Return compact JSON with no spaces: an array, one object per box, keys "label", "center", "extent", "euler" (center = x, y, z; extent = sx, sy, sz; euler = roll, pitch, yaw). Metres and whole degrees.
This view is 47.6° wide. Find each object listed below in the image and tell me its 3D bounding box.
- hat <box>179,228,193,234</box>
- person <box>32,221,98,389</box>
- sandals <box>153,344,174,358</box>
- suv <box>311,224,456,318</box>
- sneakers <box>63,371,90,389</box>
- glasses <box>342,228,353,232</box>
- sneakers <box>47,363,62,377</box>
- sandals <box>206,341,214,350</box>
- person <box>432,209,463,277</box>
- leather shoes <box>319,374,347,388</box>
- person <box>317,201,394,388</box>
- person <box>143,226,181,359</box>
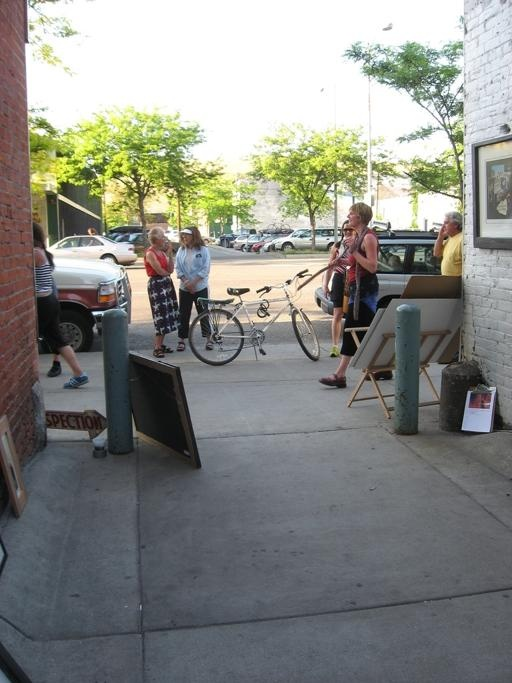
[{"label":"hat","center":[-1.074,-1.693,8.979],"extent":[0.188,0.122,0.230],"euler":[-1,6,-6]},{"label":"person","center":[-2.340,-0.358,6.594],"extent":[0.447,1.874,0.732],"euler":[3,7,28]},{"label":"sandals","center":[-1.458,0.166,9.099],"extent":[0.181,0.135,0.483],"euler":[-1,3,-6]},{"label":"suv","center":[2.208,-1.239,10.344],"extent":[2.203,1.177,1.200],"euler":[-13,13,-5]},{"label":"sneakers","center":[-2.135,0.468,6.893],"extent":[0.365,0.165,0.132],"euler":[-15,6,-7]},{"label":"glasses","center":[1.005,-1.210,6.373],"extent":[0.101,0.068,0.049],"euler":[3,7,32]},{"label":"sneakers","center":[-2.634,0.394,7.627],"extent":[0.097,0.119,0.283],"euler":[2,-9,1]},{"label":"sandals","center":[-0.682,0.065,8.575],"extent":[0.114,0.118,0.324],"euler":[0,4,0]},{"label":"person","center":[2.336,-1.186,7.076],"extent":[0.317,0.776,1.356],"euler":[2,6,17]},{"label":"leather shoes","center":[0.910,0.467,6.823],"extent":[0.342,0.174,0.133],"euler":[6,2,10]},{"label":"person","center":[1.067,-0.466,6.474],"extent":[0.566,2.092,1.101],"euler":[1,6,11]},{"label":"person","center":[-1.465,-0.751,9.035],"extent":[0.535,1.969,0.459],"euler":[-5,8,-40]}]
